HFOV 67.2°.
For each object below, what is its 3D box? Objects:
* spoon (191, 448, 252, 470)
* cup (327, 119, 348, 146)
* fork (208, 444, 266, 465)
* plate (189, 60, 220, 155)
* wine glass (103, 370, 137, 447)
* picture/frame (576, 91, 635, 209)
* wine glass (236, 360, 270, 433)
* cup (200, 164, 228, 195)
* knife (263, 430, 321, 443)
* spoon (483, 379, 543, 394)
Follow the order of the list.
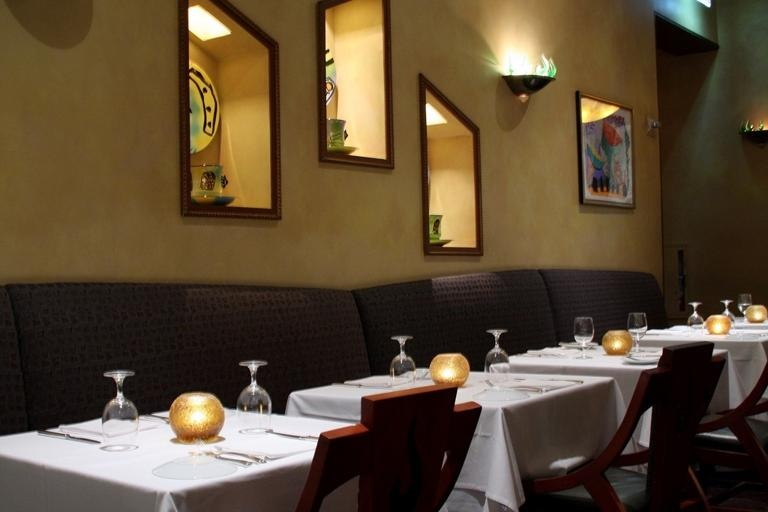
[{"bbox_3d":[-0.479,0.583,1.681,0.247,0.024,0.095,-5,0,30],"label":"spoon"},{"bbox_3d":[-0.330,-0.836,4.004,0.135,0.181,0.172,1,-10,-5],"label":"cup"},{"bbox_3d":[-0.438,0.553,1.675,0.207,0.012,0.063,-3,2,45],"label":"fork"},{"bbox_3d":[-1.074,-0.846,3.402,0.040,0.407,0.342,1,-22,23],"label":"plate"},{"bbox_3d":[-0.847,0.478,1.832,0.103,0.267,0.182,-4,1,-28],"label":"wine glass"},{"bbox_3d":[2.318,-1.087,6.179,0.970,1.045,0.211,-7,9,-40],"label":"picture/frame"},{"bbox_3d":[-0.460,0.479,2.013,0.109,0.242,0.185,-4,1,-16],"label":"wine glass"},{"bbox_3d":[-1.000,-0.447,3.383,0.122,0.135,0.143,1,-6,-3],"label":"cup"},{"bbox_3d":[-0.302,0.584,1.891,0.221,0.017,0.075,-5,0,27],"label":"knife"},{"bbox_3d":[0.576,0.566,2.507,0.134,0.022,0.107,-3,0,-22],"label":"spoon"}]
